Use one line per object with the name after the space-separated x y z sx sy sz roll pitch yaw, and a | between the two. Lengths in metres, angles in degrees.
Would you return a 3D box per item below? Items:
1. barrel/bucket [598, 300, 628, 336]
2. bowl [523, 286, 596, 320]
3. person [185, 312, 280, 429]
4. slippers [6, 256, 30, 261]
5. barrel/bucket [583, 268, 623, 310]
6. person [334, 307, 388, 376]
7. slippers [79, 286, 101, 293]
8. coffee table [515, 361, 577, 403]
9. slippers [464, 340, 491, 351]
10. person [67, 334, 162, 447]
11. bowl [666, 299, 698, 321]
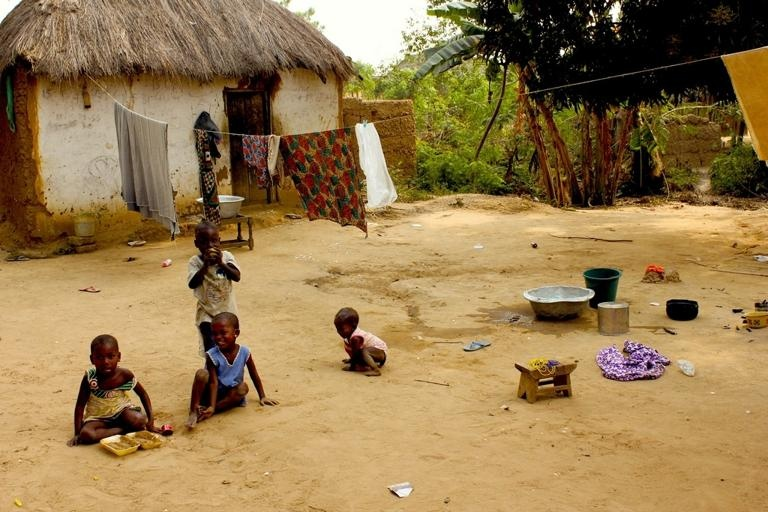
2.955 0.812 9.983 0.452 0.388 0.426 -1 6 0 | barrel/bucket
2.429 0.666 10.563 0.863 0.417 0.662 0 7 26 | bowl
-1.715 1.180 8.173 0.967 1.132 0.290 -7 8 -30 | person
-6.512 0.048 13.514 0.360 0.092 0.206 -3 6 -8 | slippers
3.154 0.499 11.132 0.620 0.448 0.574 -1 17 0 | barrel/bucket
-0.238 0.984 9.420 0.814 0.825 0.862 1 9 -5 | person
-4.585 0.531 11.841 0.234 0.046 0.132 0 4 10 | slippers
1.801 1.380 8.488 0.647 0.323 0.329 -3 4 -22 | coffee table
1.192 1.149 9.709 0.284 0.071 0.132 -5 9 -20 | slippers
-2.877 1.480 8.122 1.083 0.940 0.674 -6 16 -35 | person
4.016 0.730 10.263 0.358 0.137 0.279 3 4 19 | bowl
